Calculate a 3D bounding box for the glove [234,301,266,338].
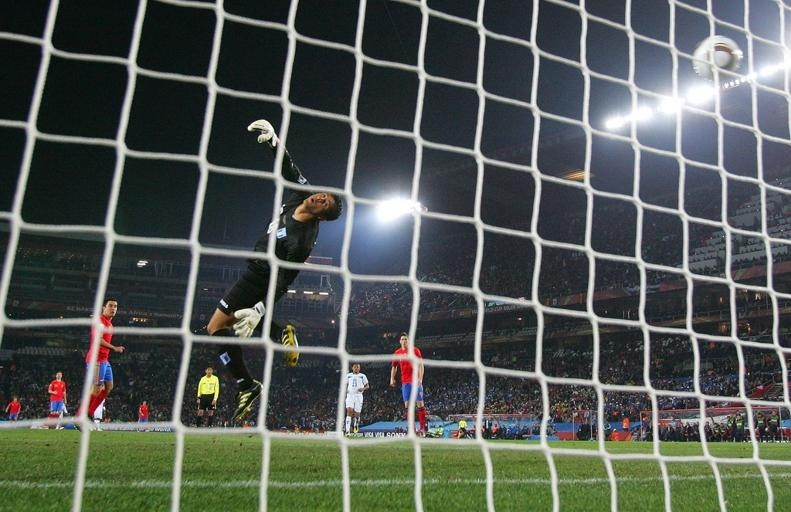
[{"bbox_3d":[-2.184,0.870,9.733,0.431,0.577,0.345,6,-19,-14],"label":"glove"}]
